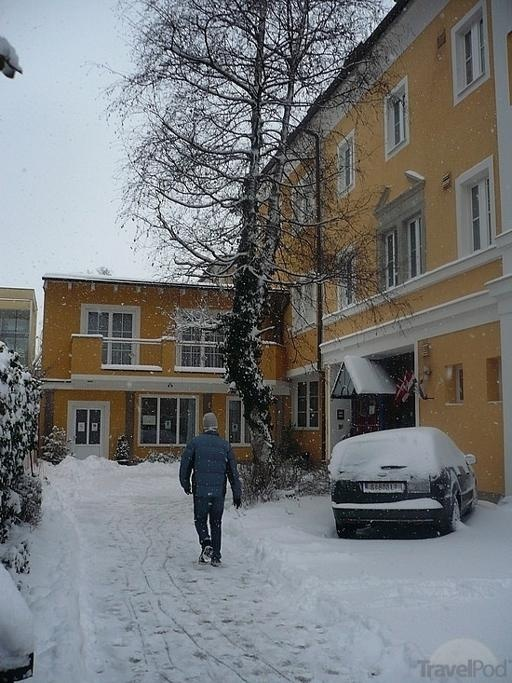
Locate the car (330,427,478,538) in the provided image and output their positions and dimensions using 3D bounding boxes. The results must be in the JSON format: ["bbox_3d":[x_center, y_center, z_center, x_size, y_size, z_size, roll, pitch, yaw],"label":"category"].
[{"bbox_3d":[1.868,1.761,7.443,1.847,1.358,1.401,0,-8,-4],"label":"car"}]

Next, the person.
[{"bbox_3d":[-0.533,1.718,7.101,0.565,1.673,0.689,-4,-8,27],"label":"person"}]

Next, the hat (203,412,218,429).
[{"bbox_3d":[-0.569,1.003,7.421,0.138,0.237,0.202,0,-12,-25],"label":"hat"}]

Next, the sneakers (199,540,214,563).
[{"bbox_3d":[-0.585,2.408,6.747,0.091,0.228,0.318,5,-24,-16],"label":"sneakers"}]
